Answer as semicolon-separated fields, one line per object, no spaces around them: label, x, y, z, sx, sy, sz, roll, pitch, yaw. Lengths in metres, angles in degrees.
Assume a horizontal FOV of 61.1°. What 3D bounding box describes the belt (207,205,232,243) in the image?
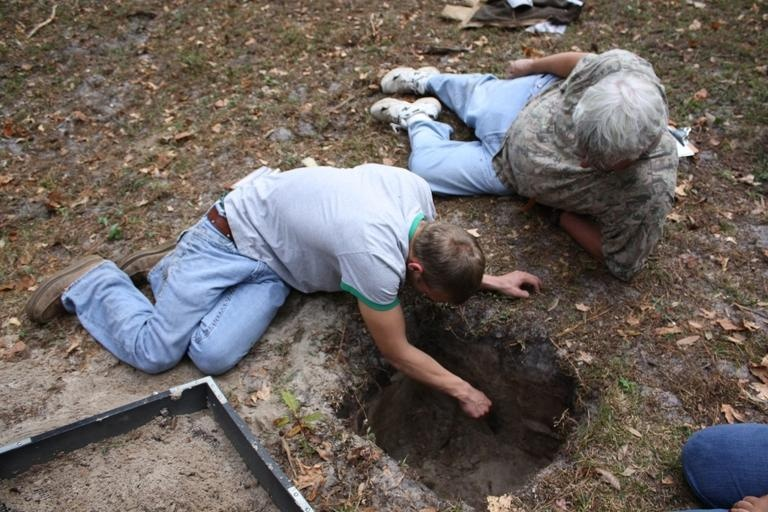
belt;-1.349;-0.278;5.425;0.109;0.286;0.208;-44;22;3

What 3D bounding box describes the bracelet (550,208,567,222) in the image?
bracelet;1.571;-0.374;5.876;0.095;0.096;0.124;-40;40;-16
